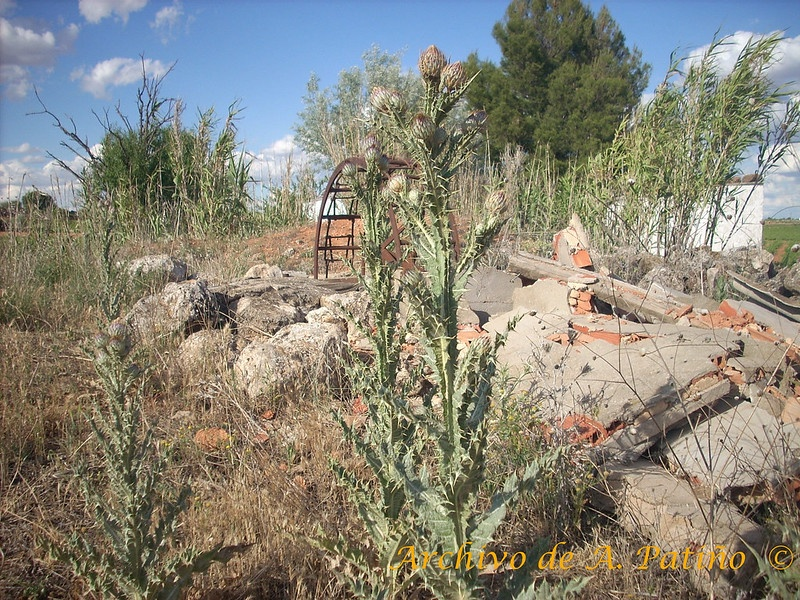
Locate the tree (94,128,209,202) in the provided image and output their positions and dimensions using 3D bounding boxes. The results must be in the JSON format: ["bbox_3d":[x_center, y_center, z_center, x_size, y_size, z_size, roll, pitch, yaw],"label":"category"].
[{"bbox_3d":[-4.806,-2.536,11.155,1.616,1.317,3.454,-6,18,-21],"label":"tree"}]
